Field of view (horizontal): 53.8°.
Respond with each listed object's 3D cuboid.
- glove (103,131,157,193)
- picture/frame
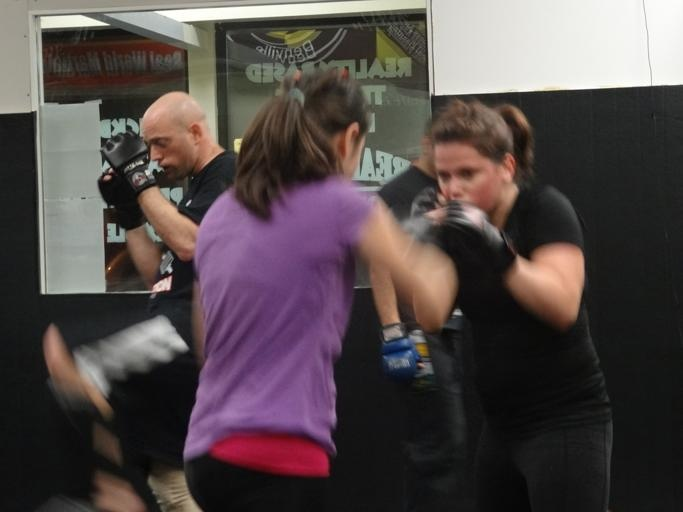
[{"bbox_3d":[-0.926,-0.402,3.068,0.187,0.306,0.118,-40,3,-13],"label":"glove"},{"bbox_3d":[-0.084,-0.551,2.976,0.927,1.341,0.020,0,-27,-1],"label":"picture/frame"}]
